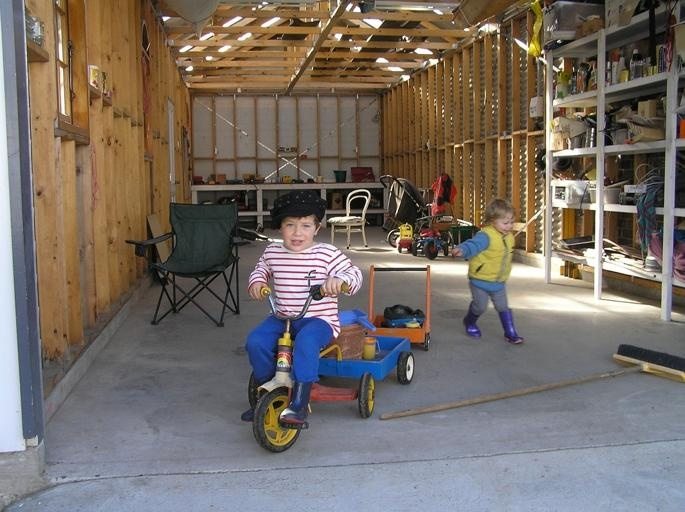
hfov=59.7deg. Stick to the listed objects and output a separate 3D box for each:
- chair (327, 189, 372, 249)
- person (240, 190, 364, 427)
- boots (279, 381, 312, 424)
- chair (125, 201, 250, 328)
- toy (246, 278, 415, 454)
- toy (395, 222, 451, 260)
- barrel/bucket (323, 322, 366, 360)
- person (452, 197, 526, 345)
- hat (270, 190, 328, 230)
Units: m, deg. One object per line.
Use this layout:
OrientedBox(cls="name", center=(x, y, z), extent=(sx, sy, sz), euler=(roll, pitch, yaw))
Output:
OrientedBox(cls="chair", center=(0.181, -0.612, 9.678), extent=(0.724, 0.986, 0.641), euler=(1, 3, -3))
OrientedBox(cls="person", center=(-0.199, 0.263, 2.789), extent=(0.588, 1.114, 0.655), euler=(0, 9, 1))
OrientedBox(cls="boots", center=(-0.195, 0.644, 2.587), extent=(0.082, 0.175, 0.162), euler=(3, 10, 20))
OrientedBox(cls="chair", center=(-1.240, 0.062, 4.798), extent=(0.912, 0.974, 0.882), euler=(-1, 5, -23))
OrientedBox(cls="toy", center=(-0.097, 0.463, 2.988), extent=(0.609, 0.658, 1.140), euler=(-2, 6, 27))
OrientedBox(cls="toy", center=(1.125, -0.212, 8.387), extent=(0.453, 0.476, 0.746), euler=(2, 5, 9))
OrientedBox(cls="barrel/bucket", center=(0.035, 0.427, 3.023), extent=(0.180, 0.128, 0.185), euler=(-3, -7, 0))
OrientedBox(cls="person", center=(1.020, 0.098, 4.132), extent=(0.527, 0.970, 0.492), euler=(-1, 9, -2))
OrientedBox(cls="hat", center=(-0.184, -0.229, 2.805), extent=(0.181, 0.110, 0.202), euler=(1, 11, 25))
